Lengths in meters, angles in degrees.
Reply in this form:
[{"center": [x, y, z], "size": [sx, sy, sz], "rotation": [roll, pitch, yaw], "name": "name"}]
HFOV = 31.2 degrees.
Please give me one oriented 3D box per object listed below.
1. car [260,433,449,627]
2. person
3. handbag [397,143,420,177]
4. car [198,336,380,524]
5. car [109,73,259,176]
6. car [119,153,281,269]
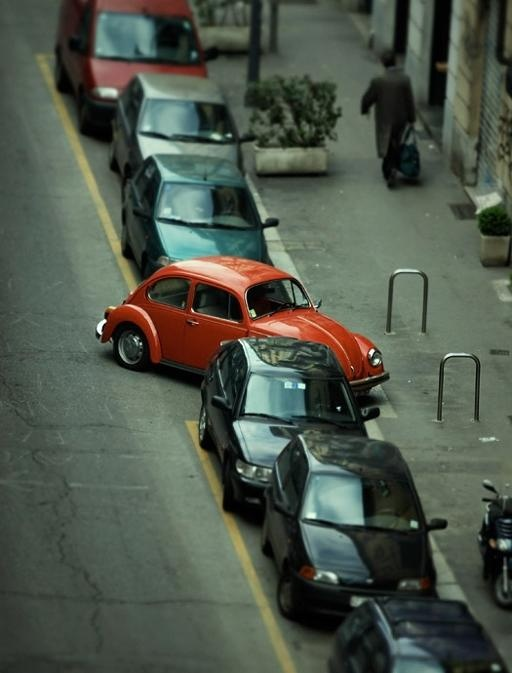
[{"center": [0.649, 1.453, 7.192], "size": [0.925, 0.800, 1.550], "rotation": [2, 11, -8], "name": "car"}, {"center": [2.582, -4.328, 17.789], "size": [1.047, 2.608, 0.754], "rotation": [6, 18, 29], "name": "person"}, {"center": [2.936, -3.531, 17.752], "size": [0.299, 0.582, 0.431], "rotation": [-15, 30, -5], "name": "handbag"}, {"center": [0.226, 0.823, 9.443], "size": [1.595, 1.333, 3.252], "rotation": [5, 12, -10], "name": "car"}, {"center": [-1.457, -3.558, 16.413], "size": [2.047, 1.838, 3.987], "rotation": [4, 24, -19], "name": "car"}, {"center": [-0.954, -1.759, 13.897], "size": [1.853, 1.734, 3.618], "rotation": [3, 21, -17], "name": "car"}]
